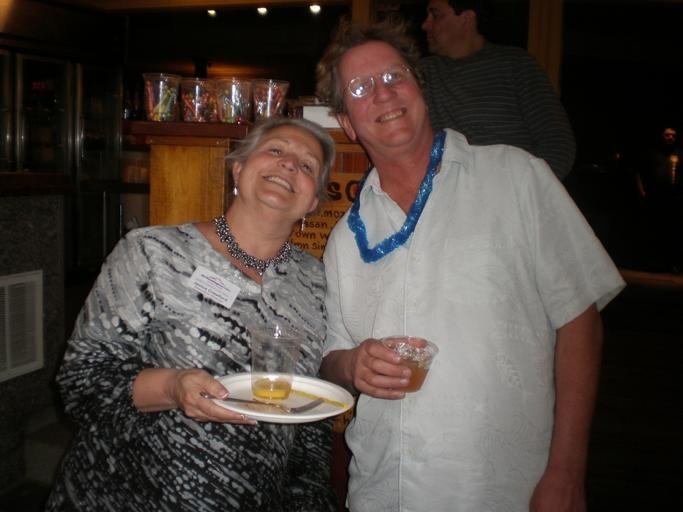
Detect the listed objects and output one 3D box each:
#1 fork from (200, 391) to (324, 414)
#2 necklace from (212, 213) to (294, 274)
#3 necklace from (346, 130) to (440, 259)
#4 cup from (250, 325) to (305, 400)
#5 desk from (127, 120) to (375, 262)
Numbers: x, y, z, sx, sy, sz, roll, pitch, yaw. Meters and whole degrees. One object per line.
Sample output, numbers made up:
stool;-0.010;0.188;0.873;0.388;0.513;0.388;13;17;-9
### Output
fork;-0.325;0.580;2.256;0.345;0.049;0.047;11;-2;-23
necklace;-0.440;-0.075;2.717;0.033;0.317;0.290;-38;-3;42
necklace;0.299;-0.250;2.514;0.100;0.547;0.438;23;-13;-31
cup;-0.271;0.458;2.507;0.272;0.301;0.265;2;-3;0
desk;-0.517;-0.506;3.612;1.259;1.205;0.845;2;-2;6
